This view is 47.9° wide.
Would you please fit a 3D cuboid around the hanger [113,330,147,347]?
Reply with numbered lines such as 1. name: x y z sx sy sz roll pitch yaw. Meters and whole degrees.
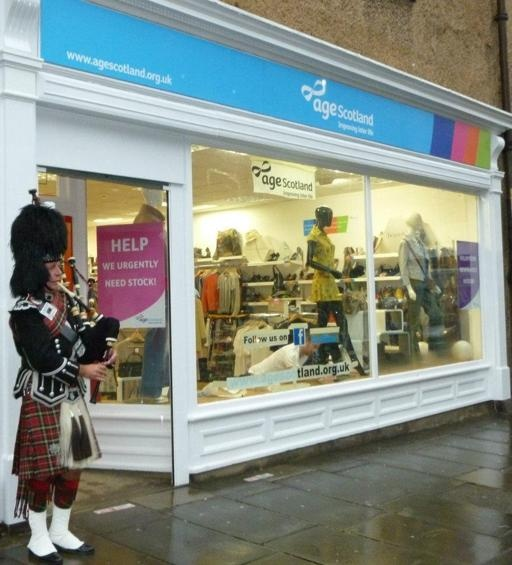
1. hanger: -0.979 0.440 4.556 0.347 0.207 0.023 0 -5 15

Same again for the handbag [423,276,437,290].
1. handbag: 2.244 0.016 7.431 0.066 0.179 0.134 -42 14 2

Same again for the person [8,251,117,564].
1. person: -1.019 0.633 2.947 0.393 1.585 0.536 -4 -7 41
